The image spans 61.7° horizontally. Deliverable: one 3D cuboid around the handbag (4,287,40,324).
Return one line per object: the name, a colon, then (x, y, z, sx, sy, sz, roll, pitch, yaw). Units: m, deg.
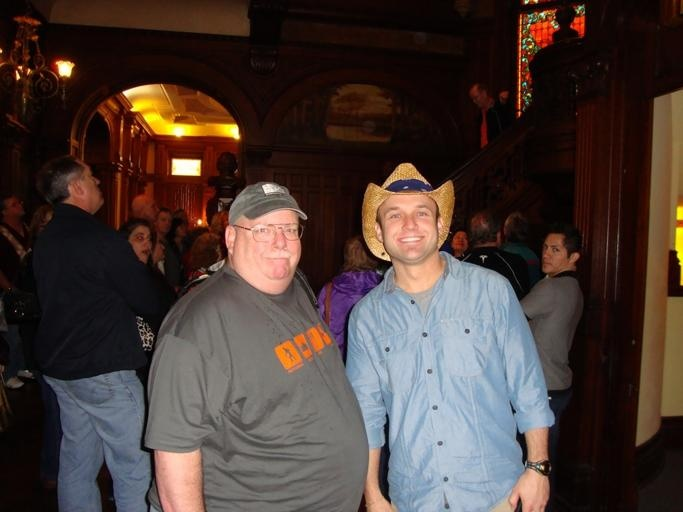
handbag: (-2.413, 0.378, 4.363, 0.338, 0.221, 0.151, 4, 11, 21)

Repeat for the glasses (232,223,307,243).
glasses: (-0.353, -0.111, 2.829, 0.356, 0.109, 0.180, 1, -3, -15)
